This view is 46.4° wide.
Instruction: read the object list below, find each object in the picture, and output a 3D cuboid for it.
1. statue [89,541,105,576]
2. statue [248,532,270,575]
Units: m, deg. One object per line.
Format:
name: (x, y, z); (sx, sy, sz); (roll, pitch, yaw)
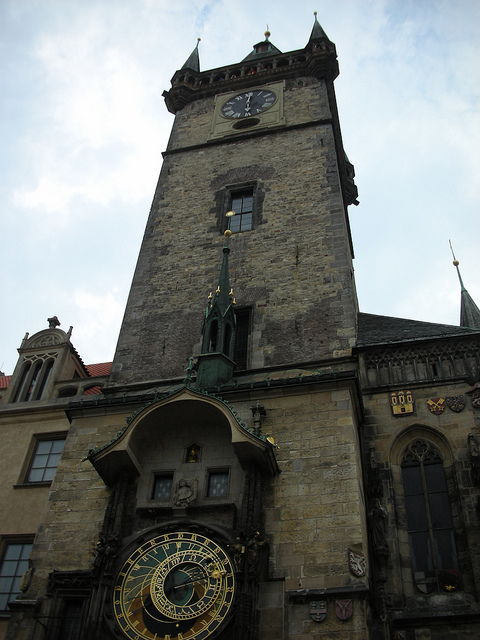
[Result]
statue: (-2.222, 3.693, 8.635); (0.144, 0.523, 0.323); (14, -36, -14)
statue: (0.217, 3.349, 8.008); (0.229, 0.598, 0.318); (-11, -37, 20)
